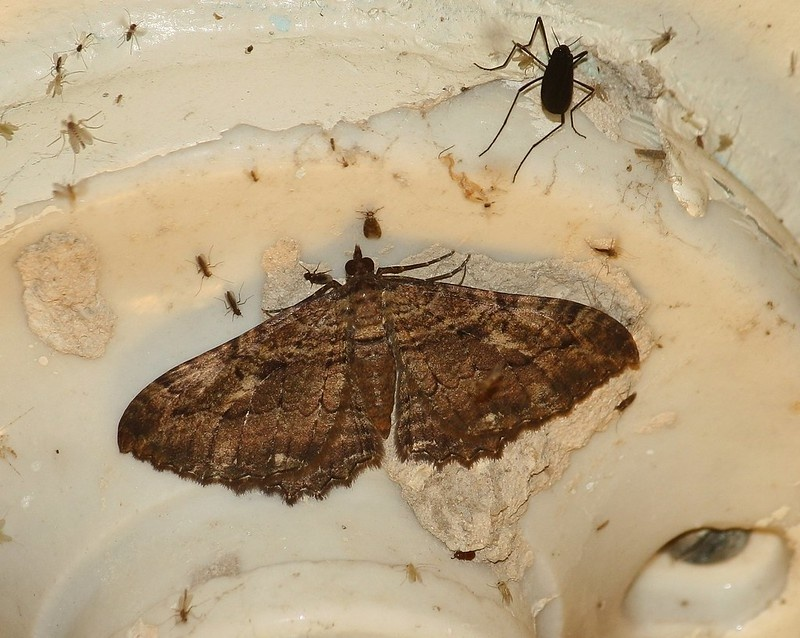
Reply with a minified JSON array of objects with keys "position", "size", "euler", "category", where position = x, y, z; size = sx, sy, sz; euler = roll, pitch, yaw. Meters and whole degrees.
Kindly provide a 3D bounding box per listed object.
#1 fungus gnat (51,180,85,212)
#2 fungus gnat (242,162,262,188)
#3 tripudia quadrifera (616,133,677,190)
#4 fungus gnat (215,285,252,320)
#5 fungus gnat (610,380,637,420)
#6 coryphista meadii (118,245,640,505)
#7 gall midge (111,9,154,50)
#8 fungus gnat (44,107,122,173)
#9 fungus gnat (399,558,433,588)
[{"position":[-2.827,-1.057,9.759],"size":[0.349,0.090,0.169],"euler":[-5,98,-7],"category":"fungus gnat"},{"position":[-1.264,-1.225,9.829],"size":[0.104,0.046,0.132],"euler":[-21,77,-5],"category":"fungus gnat"},{"position":[2.095,-1.408,9.606],"size":[0.225,0.179,0.572],"euler":[-42,80,-9],"category":"tripudia quadrifera"},{"position":[-1.426,-0.127,9.849],"size":[0.278,0.072,0.231],"euler":[-19,87,-11],"category":"fungus gnat"},{"position":[1.891,0.707,9.692],"size":[0.155,0.056,0.201],"euler":[46,74,-16],"category":"fungus gnat"},{"position":[-0.217,0.508,9.069],"size":[3.632,1.117,1.475],"euler":[-11,77,-3],"category":"coryphista meadii"},{"position":[-2.242,-2.397,9.609],"size":[0.214,0.150,0.262],"euler":[7,76,1],"category":"gall midge"},{"position":[-2.688,-1.514,9.683],"size":[0.511,0.176,0.380],"euler":[-38,79,-9],"category":"fungus gnat"},{"position":[0.106,2.141,9.753],"size":[0.190,0.018,0.166],"euler":[6,76,1],"category":"fungus gnat"}]
